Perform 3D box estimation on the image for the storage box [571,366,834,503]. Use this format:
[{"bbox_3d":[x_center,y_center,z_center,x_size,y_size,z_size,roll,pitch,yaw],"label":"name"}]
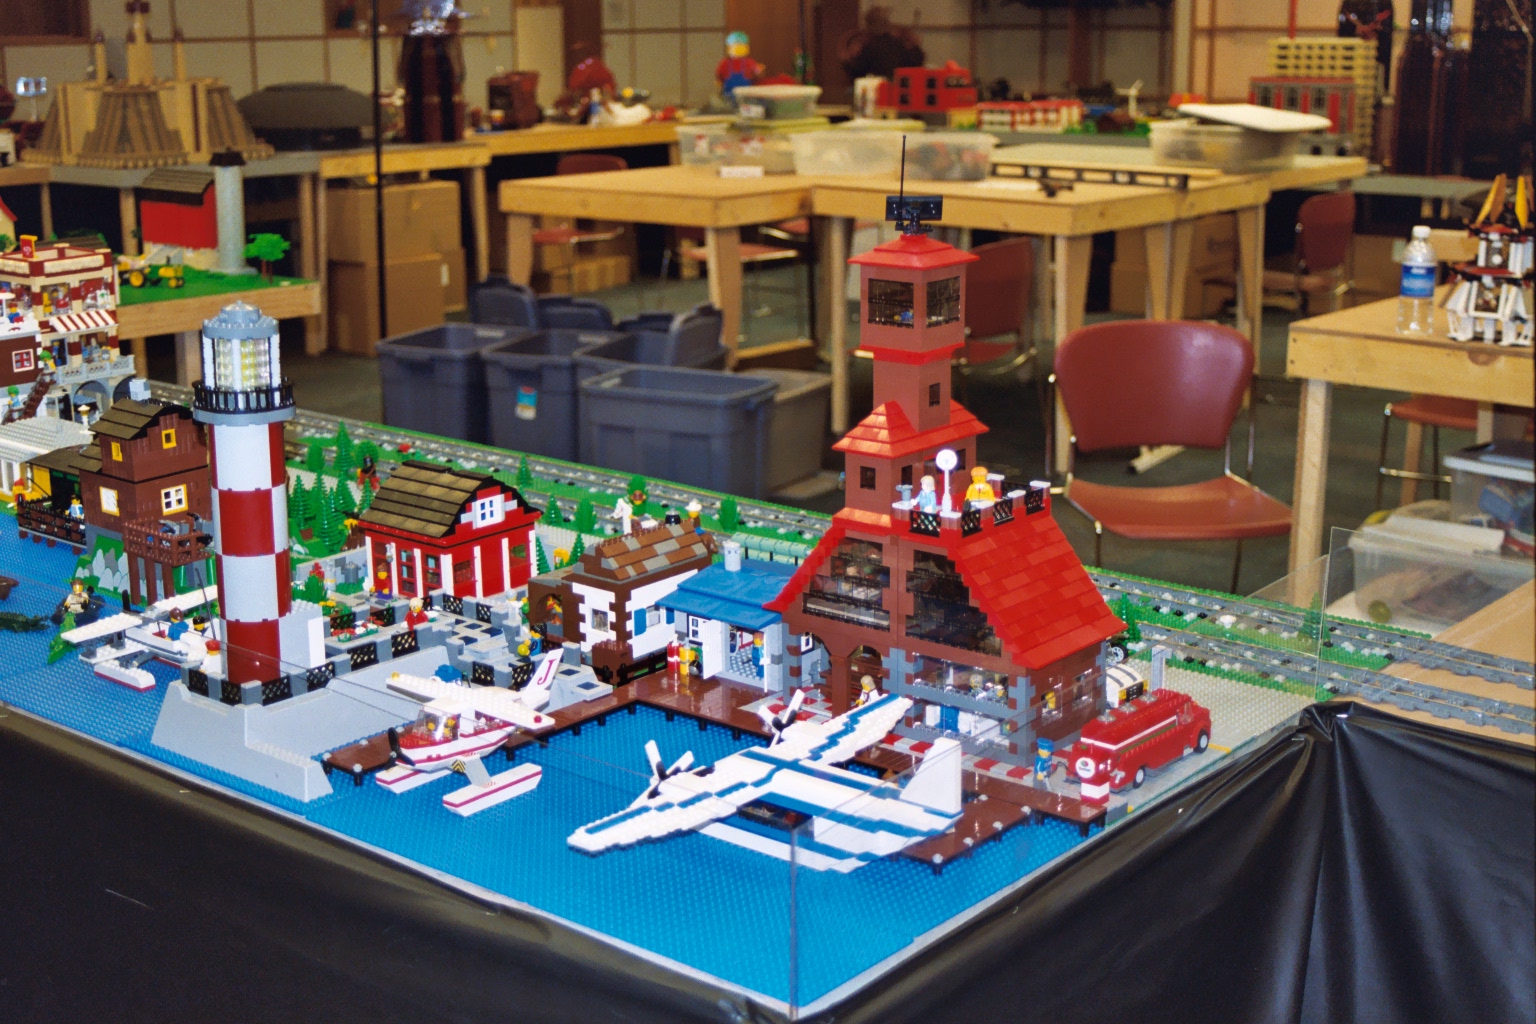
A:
[{"bbox_3d":[-0.313,-0.315,5.193,0.678,0.307,0.536,10,19,29],"label":"storage box"}]
